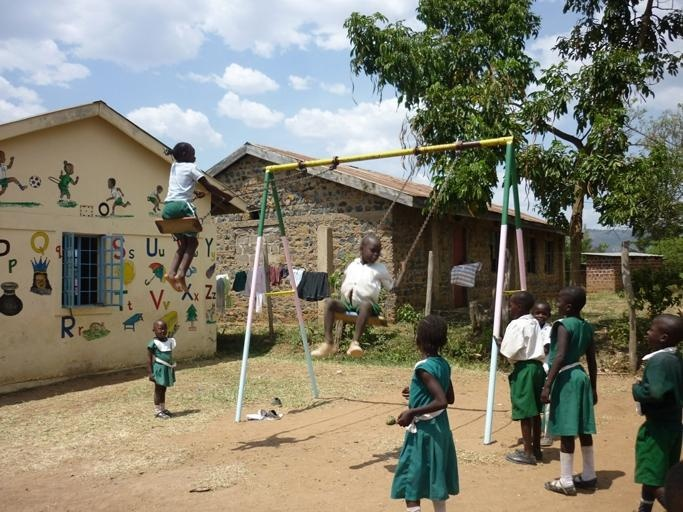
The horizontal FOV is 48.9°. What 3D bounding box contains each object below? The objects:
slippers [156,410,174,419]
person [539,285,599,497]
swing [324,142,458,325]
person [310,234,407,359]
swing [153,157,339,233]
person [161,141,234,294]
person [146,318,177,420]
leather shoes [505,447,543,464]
[{"bbox_3d":[-2.630,2.329,11.100,0.213,0.101,0.113,1,2,18],"label":"slippers"},{"bbox_3d":[2.649,1.518,8.670,0.616,2.286,0.809,1,9,19],"label":"person"},{"bbox_3d":[1.021,-0.582,12.001,1.619,3.581,1.527,3,3,29],"label":"swing"},{"bbox_3d":[0.275,0.514,10.406,1.037,1.736,0.996,-1,-6,40],"label":"person"},{"bbox_3d":[-1.487,-0.652,10.868,2.686,1.453,2.695,3,2,0],"label":"swing"},{"bbox_3d":[-1.917,-0.552,10.148,0.974,2.055,1.095,-1,-4,5],"label":"person"},{"bbox_3d":[-2.715,1.696,11.373,0.450,1.431,0.568,-5,-8,24],"label":"person"},{"bbox_3d":[2.222,2.415,9.155,0.437,0.184,0.176,3,-3,12],"label":"leather shoes"}]
